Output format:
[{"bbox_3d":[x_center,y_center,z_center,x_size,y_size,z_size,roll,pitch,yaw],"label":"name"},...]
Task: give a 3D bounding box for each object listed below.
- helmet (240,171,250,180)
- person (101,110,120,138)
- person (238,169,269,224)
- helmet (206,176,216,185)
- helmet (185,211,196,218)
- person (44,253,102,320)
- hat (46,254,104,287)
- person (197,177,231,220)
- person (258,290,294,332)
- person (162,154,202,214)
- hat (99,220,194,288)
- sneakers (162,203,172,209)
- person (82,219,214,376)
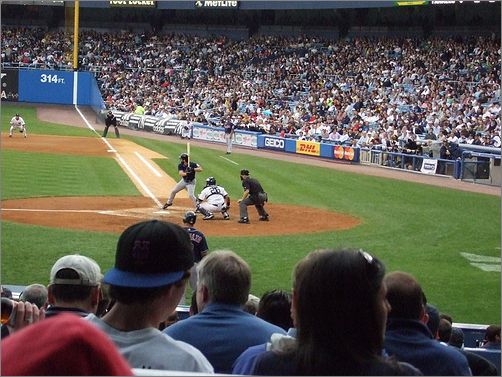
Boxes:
[{"bbox_3d":[-0.151,-0.453,23.653,0.223,0.300,0.297,0,19,-18],"label":"helmet"},{"bbox_3d":[-7.332,-3.365,40.387,0.861,1.386,1.932,3,5,-12],"label":"person"},{"bbox_3d":[0.132,0.243,24.020,0.976,1.677,1.316,5,5,0],"label":"person"},{"bbox_3d":[-1.232,-0.232,23.519,0.265,0.227,0.211,8,5,13],"label":"helmet"},{"bbox_3d":[-1.369,0.566,17.533,0.192,0.146,0.179,-19,-25,-11],"label":"helmet"},{"bbox_3d":[-2.540,1.410,11.095,1.107,0.802,1.781,4,-1,-5],"label":"person"},{"bbox_3d":[-2.571,1.173,11.427,0.634,0.331,0.898,4,-6,1],"label":"hat"},{"bbox_3d":[-1.140,0.380,23.716,0.943,0.497,1.354,-1,38,-13],"label":"person"},{"bbox_3d":[0.393,1.933,12.220,0.539,0.893,0.595,4,-5,7],"label":"person"},{"bbox_3d":[-2.166,-0.217,24.649,1.030,1.817,0.742,3,5,-12],"label":"person"},{"bbox_3d":[-1.313,0.860,10.603,0.819,0.571,1.078,7,13,26],"label":"hat"},{"bbox_3d":[-2.701,0.539,24.760,0.363,0.153,0.124,-7,-1,20],"label":"sneakers"},{"bbox_3d":[-1.365,1.456,10.419,1.348,1.937,0.522,4,5,-10],"label":"person"}]
